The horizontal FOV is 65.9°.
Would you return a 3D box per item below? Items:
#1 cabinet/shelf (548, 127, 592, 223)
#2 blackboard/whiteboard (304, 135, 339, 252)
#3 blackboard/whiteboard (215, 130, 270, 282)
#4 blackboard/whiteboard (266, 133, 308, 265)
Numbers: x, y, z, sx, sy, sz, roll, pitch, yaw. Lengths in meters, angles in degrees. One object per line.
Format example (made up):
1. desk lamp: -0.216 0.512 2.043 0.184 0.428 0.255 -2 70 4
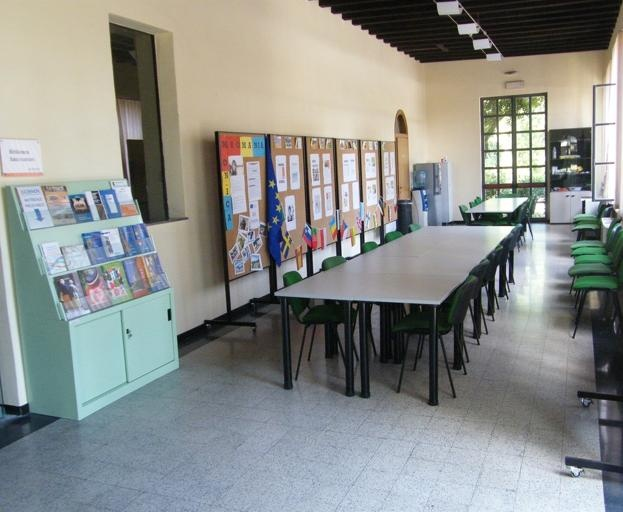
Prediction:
1. cabinet/shelf: 6.818 -2.121 12.853 1.000 2.501 0.368 0 9 21
2. blackboard/whiteboard: 0.143 -1.006 7.652 0.089 2.024 1.721 1 5 17
3. blackboard/whiteboard: -0.805 -0.649 5.995 0.166 1.738 0.989 1 9 21
4. blackboard/whiteboard: -0.346 -0.798 6.713 0.088 1.920 1.633 1 9 23
